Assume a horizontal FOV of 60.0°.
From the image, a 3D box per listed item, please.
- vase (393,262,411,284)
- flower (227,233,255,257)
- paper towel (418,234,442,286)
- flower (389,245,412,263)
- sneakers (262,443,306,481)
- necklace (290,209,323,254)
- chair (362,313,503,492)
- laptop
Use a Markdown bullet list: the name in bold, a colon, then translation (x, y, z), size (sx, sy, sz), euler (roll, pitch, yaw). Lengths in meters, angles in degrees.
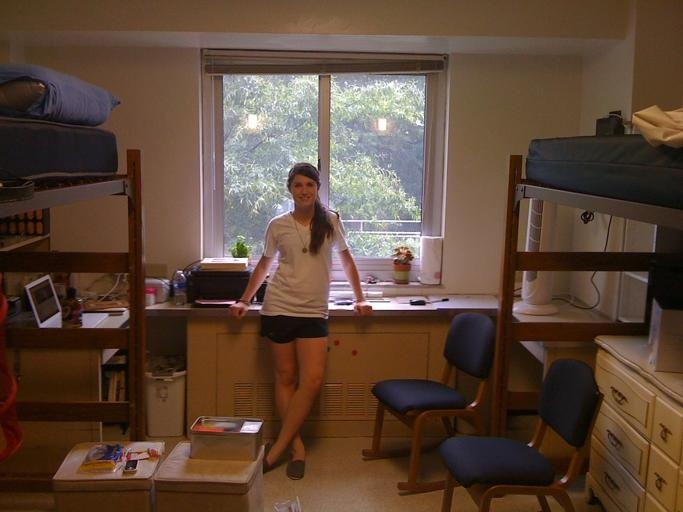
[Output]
- **vase**: translation (0.455, 0.131, 4.532), size (0.137, 0.167, 0.146), euler (0, 2, 11)
- **flower**: translation (-0.748, -0.079, 4.382), size (0.151, 0.192, 0.159), euler (-2, -2, 11)
- **paper towel**: translation (0.642, 0.013, 4.493), size (0.198, 0.377, 0.211), euler (3, 11, 5)
- **flower**: translation (0.462, -0.023, 4.485), size (0.120, 0.075, 0.124), euler (4, 6, 35)
- **sneakers**: translation (-0.362, 1.295, 3.754), size (0.264, 0.129, 0.226), euler (1, 14, 3)
- **necklace**: translation (-0.221, -0.141, 3.701), size (0.175, 0.264, 0.090), euler (-1, -6, -1)
- **chair**: translation (0.587, 0.858, 3.769), size (0.632, 1.053, 0.635), euler (1, 2, -20)
- **laptop**: translation (-1.658, 0.290, 3.553), size (0.290, 0.263, 0.370), euler (2, 5, -11)
